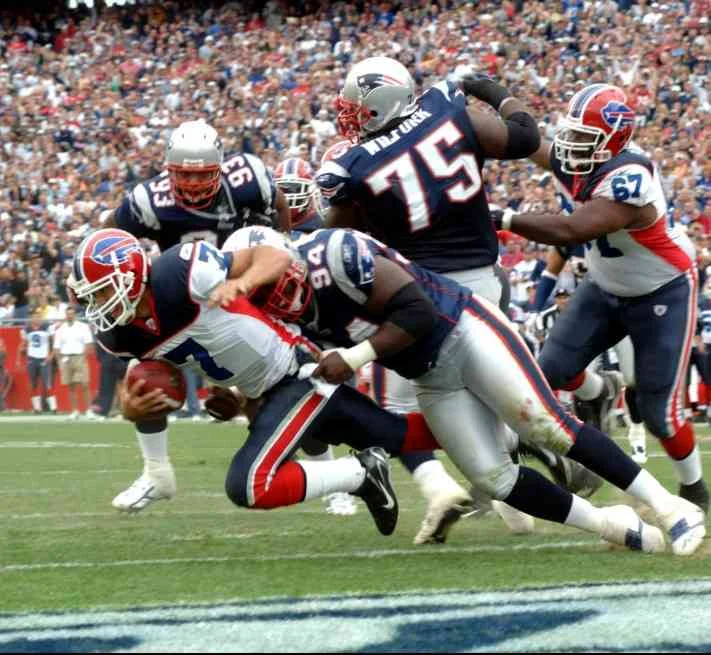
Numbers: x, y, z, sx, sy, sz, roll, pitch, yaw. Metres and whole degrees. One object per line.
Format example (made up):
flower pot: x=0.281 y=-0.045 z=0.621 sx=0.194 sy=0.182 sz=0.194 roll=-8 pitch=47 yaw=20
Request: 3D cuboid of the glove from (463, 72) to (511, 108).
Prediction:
glove: x=0.579 y=-1.052 z=3.467 sx=0.189 sy=0.072 sz=0.215 roll=2 pitch=35 yaw=-23

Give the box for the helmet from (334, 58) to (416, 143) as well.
helmet: x=0.031 y=-0.969 z=3.323 sx=0.427 sy=0.251 sz=0.256 roll=-15 pitch=34 yaw=-19

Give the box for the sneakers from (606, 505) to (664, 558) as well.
sneakers: x=0.974 y=0.710 z=2.685 sx=0.252 sy=0.112 sz=0.085 roll=25 pitch=-6 yaw=-6

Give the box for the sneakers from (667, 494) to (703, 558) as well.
sneakers: x=1.153 y=0.684 z=2.699 sx=0.134 sy=0.075 sz=0.232 roll=21 pitch=26 yaw=2

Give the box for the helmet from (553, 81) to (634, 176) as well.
helmet: x=1.068 y=-0.870 z=3.370 sx=0.421 sy=0.273 sz=0.249 roll=-20 pitch=36 yaw=-15

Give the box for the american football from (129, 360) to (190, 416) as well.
american football: x=-0.738 y=0.215 z=2.968 sx=0.274 sy=0.192 sz=0.286 roll=-3 pitch=20 yaw=-23

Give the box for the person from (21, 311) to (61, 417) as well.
person: x=-4.009 y=0.501 z=9.954 sx=0.442 sy=1.239 sz=0.616 roll=-9 pitch=34 yaw=-18

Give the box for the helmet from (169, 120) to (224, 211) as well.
helmet: x=-0.783 y=-0.782 z=3.831 sx=0.258 sy=0.415 sz=0.309 roll=-3 pitch=31 yaw=-9

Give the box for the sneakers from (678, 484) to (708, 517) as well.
sneakers: x=1.484 y=0.730 z=3.357 sx=0.161 sy=0.187 sz=0.080 roll=0 pitch=48 yaw=22
